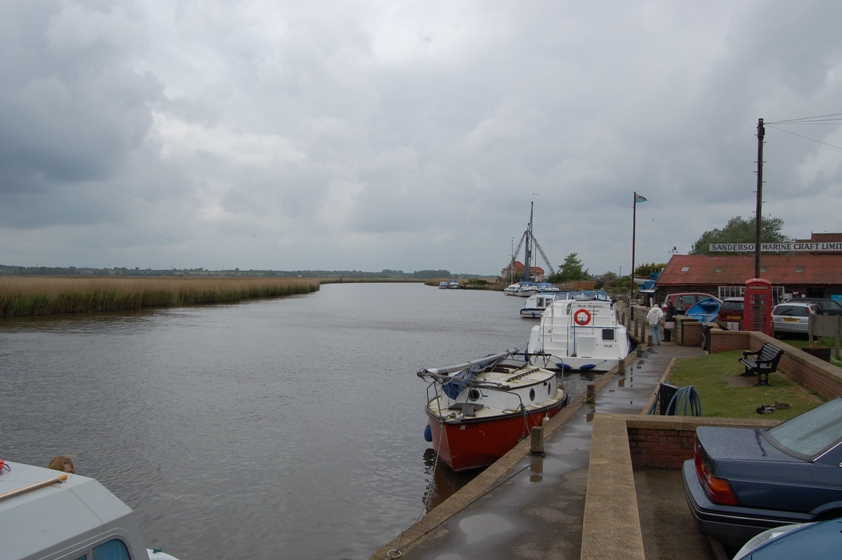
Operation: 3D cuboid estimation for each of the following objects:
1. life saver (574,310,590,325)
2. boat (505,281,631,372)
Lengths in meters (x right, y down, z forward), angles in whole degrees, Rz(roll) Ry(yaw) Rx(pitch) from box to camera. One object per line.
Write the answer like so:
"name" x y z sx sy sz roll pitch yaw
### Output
"life saver" 7.624 1.769 28.364 0.688 0.672 0.157 5 -2 -7
"boat" 8.197 2.593 30.707 3.970 2.639 6.873 0 2 16
